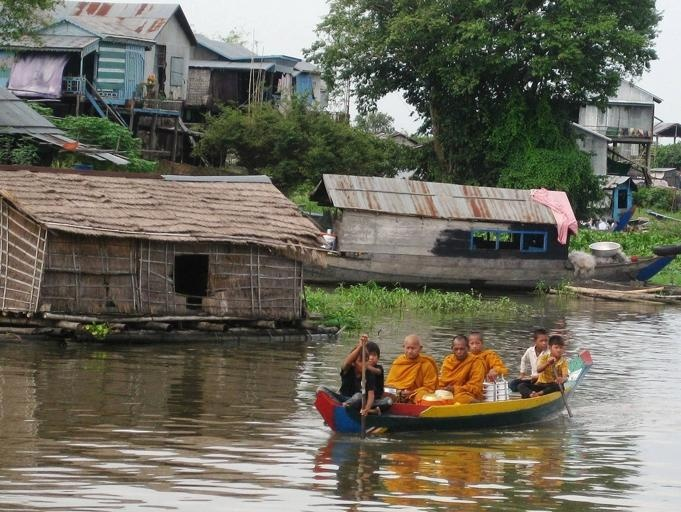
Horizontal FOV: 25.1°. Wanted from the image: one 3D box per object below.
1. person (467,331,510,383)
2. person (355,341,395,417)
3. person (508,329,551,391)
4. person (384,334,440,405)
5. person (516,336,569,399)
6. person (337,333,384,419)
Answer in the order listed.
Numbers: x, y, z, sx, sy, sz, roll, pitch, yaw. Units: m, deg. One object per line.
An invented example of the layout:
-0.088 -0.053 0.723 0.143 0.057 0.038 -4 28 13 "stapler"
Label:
3.474 2.374 36.028 0.818 1.166 0.752 -1 3 24 "person"
0.767 2.781 34.929 0.800 1.662 0.681 2 -6 -22 "person"
4.544 2.508 36.940 0.882 1.595 0.823 -2 4 40 "person"
1.681 2.639 35.943 1.050 1.626 1.107 -1 2 11 "person"
4.832 2.624 36.672 1.074 1.532 1.048 -2 0 28 "person"
0.472 2.754 35.163 1.050 1.771 1.128 5 -1 12 "person"
